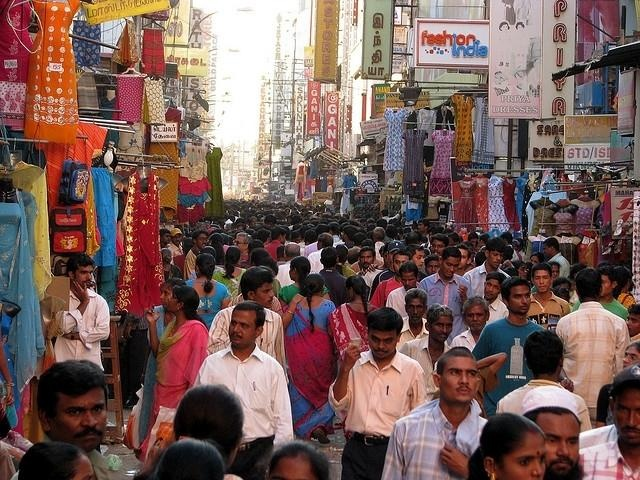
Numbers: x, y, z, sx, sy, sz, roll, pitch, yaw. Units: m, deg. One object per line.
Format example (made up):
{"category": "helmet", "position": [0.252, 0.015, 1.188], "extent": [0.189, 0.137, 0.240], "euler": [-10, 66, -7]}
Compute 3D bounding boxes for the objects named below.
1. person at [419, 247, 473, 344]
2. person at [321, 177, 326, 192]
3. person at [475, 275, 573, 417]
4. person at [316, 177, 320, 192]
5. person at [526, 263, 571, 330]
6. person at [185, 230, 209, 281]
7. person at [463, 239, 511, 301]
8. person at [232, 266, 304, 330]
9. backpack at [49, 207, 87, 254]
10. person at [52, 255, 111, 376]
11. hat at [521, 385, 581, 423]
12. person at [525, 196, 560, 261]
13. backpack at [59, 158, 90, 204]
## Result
{"category": "person", "position": [1.289, 0.801, 8.269], "extent": [0.454, 1.523, 0.425], "euler": [-2, 18, -3]}
{"category": "person", "position": [0.229, -4.309, 61.590], "extent": [0.513, 1.110, 1.682], "euler": [2, 2, -1]}
{"category": "person", "position": [1.458, 1.065, 6.127], "extent": [0.594, 1.516, 0.442], "euler": [4, -3, 7]}
{"category": "person", "position": [-0.181, -4.321, 61.888], "extent": [0.429, 0.984, 0.651], "euler": [2, 2, -4]}
{"category": "person", "position": [2.112, 0.645, 7.548], "extent": [0.413, 0.859, 0.231], "euler": [-3, -17, 18]}
{"category": "person", "position": [-1.689, 0.226, 10.724], "extent": [0.208, 0.800, 0.324], "euler": [11, 24, 9]}
{"category": "person", "position": [1.809, 0.336, 8.646], "extent": [0.470, 0.953, 0.304], "euler": [-2, 9, -17]}
{"category": "person", "position": [-0.460, 0.524, 7.057], "extent": [0.386, 0.395, 1.075], "euler": [13, -3, -23]}
{"category": "backpack", "position": [-2.684, -0.165, 8.440], "extent": [0.360, 0.592, 0.286], "euler": [-1, 33, -21]}
{"category": "person", "position": [-2.261, 0.911, 7.499], "extent": [0.471, 1.574, 0.451], "euler": [1, 16, -19]}
{"category": "hat", "position": [1.252, 0.862, 4.335], "extent": [0.195, 0.146, 0.208], "euler": [1, 2, -25]}
{"category": "person", "position": [3.962, -0.147, 14.039], "extent": [0.486, 1.281, 0.245], "euler": [5, -16, 1]}
{"category": "backpack", "position": [-2.583, -0.597, 8.366], "extent": [0.295, 0.455, 0.248], "euler": [1, 3, -28]}
